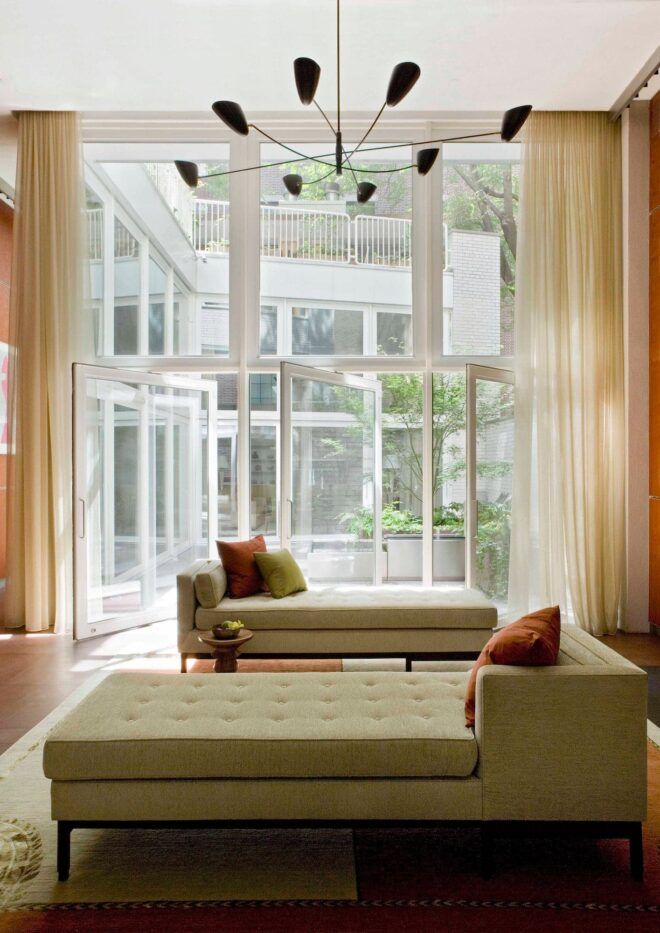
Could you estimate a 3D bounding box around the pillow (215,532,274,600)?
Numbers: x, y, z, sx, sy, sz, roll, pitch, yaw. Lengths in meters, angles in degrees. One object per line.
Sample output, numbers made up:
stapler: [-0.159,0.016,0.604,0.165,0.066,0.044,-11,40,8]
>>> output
pillow: [-0.468,0.579,5.098,0.189,0.336,0.379,-1,-2,38]
